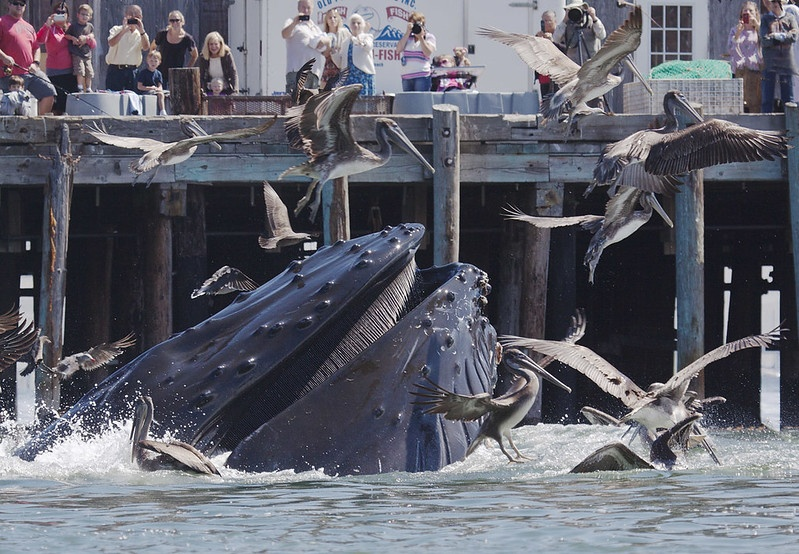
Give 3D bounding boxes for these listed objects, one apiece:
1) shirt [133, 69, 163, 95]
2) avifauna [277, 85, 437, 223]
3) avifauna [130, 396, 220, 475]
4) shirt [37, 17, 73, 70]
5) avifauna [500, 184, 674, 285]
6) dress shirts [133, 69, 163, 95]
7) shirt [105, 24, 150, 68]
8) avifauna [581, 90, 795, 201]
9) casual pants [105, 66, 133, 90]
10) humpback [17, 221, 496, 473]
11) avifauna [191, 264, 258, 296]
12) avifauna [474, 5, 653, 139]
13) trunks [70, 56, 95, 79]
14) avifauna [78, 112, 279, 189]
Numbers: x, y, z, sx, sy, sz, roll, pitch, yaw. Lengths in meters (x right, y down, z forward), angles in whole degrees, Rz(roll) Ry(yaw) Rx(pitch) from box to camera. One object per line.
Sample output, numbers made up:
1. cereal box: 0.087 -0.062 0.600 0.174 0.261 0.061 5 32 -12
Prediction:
1. shirt: -4.247 -3.382 47.228 0.457 0.467 0.420 0 -2 -18
2. avifauna: -0.658 -2.049 41.822 1.959 1.280 2.221 3 -8 -3
3. avifauna: -3.064 2.170 37.979 1.149 1.079 0.741 -1 6 -6
4. shirt: -5.839 -4.055 47.505 0.381 0.661 1.152 -10 -1 13
5. avifauna: 3.196 -0.691 42.232 1.930 1.515 0.982 1 6 15
6. dress shirts: -4.209 -3.402 47.174 0.401 0.426 0.597 -1 6 -7
7. shirt: -4.668 -4.052 47.749 0.656 0.680 0.440 -1 6 -8
8. avifauna: 4.278 -1.921 41.257 1.587 0.768 2.055 -10 4 -34
9. casual pants: -4.734 -3.491 47.661 0.498 0.433 0.357 -1 6 -6
10. humpback: -2.202 0.700 38.790 7.724 3.139 4.969 -4 18 -36
11. avifauna: -2.715 0.060 44.136 0.672 0.309 0.826 -1 0 -27
12. avifauna: 2.798 -3.301 43.228 1.910 1.467 2.652 -4 3 -35
13. trunks: -5.393 -3.651 47.505 0.294 0.532 0.425 -1 3 20
14. avifauna: -3.452 -1.967 42.754 2.263 0.952 1.367 -5 -31 17
